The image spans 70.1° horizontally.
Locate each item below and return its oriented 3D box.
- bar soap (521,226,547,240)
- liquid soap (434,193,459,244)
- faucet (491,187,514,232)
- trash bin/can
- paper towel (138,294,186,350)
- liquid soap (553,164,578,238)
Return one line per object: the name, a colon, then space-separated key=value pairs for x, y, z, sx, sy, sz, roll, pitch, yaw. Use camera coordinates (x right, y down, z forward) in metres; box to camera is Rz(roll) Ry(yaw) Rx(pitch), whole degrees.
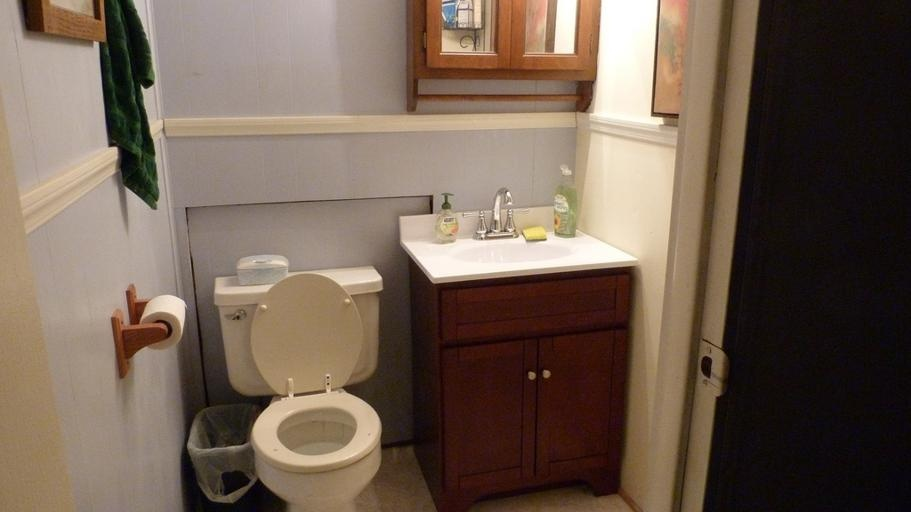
bar soap: x=0.352 y=-0.100 z=2.914 sx=0.100 sy=0.043 sz=0.088 roll=-4 pitch=18 yaw=-4
liquid soap: x=-0.044 y=-0.178 z=2.889 sx=0.105 sy=0.205 sz=0.165 roll=-3 pitch=18 yaw=-1
faucet: x=0.203 y=-0.210 z=2.918 sx=0.094 sy=0.195 sz=0.125 roll=-1 pitch=19 yaw=5
trash bin/can: x=-0.934 y=0.776 z=2.602 sx=0.301 sy=0.293 sz=0.366 roll=-4 pitch=14 yaw=-31
paper towel: x=-0.836 y=0.187 z=1.860 sx=0.119 sy=0.124 sz=0.168 roll=-12 pitch=20 yaw=-26
liquid soap: x=0.498 y=-0.271 z=2.966 sx=0.106 sy=0.321 sz=0.232 roll=0 pitch=19 yaw=9
